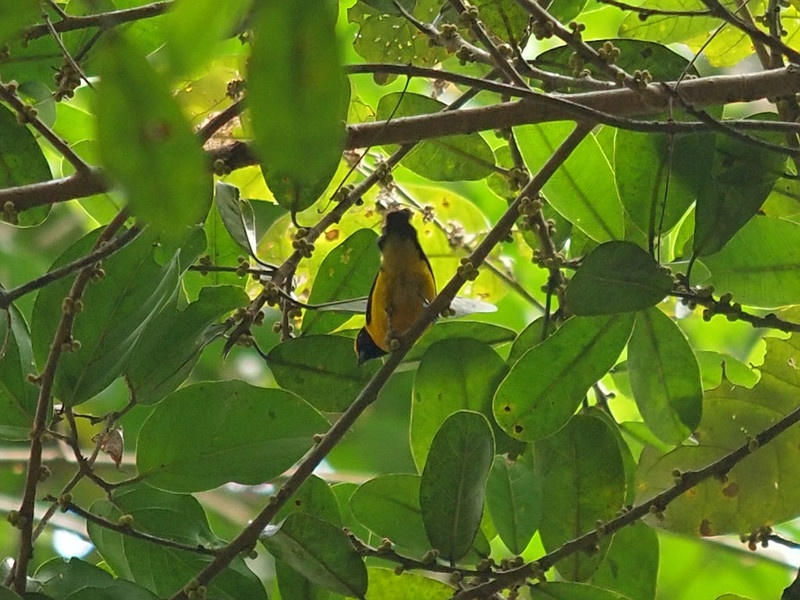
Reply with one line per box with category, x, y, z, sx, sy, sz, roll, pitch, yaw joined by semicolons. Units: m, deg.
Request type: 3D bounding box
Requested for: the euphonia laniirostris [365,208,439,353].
euphonia laniirostris;-0.018;-0.024;2.420;0.121;0.328;0.198;7;-21;-24
